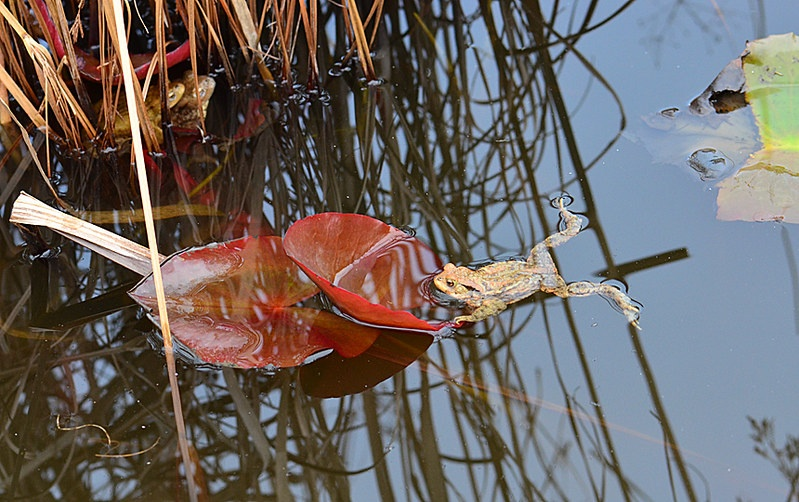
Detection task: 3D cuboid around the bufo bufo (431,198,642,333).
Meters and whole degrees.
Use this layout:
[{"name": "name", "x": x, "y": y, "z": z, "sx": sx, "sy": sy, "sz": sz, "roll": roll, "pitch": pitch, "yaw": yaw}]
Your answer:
[{"name": "bufo bufo", "x": 0.369, "y": 0.048, "z": 3.708, "sx": 0.388, "sy": 0.123, "sz": 0.388, "roll": -20, "pitch": 60, "yaw": 3}]
